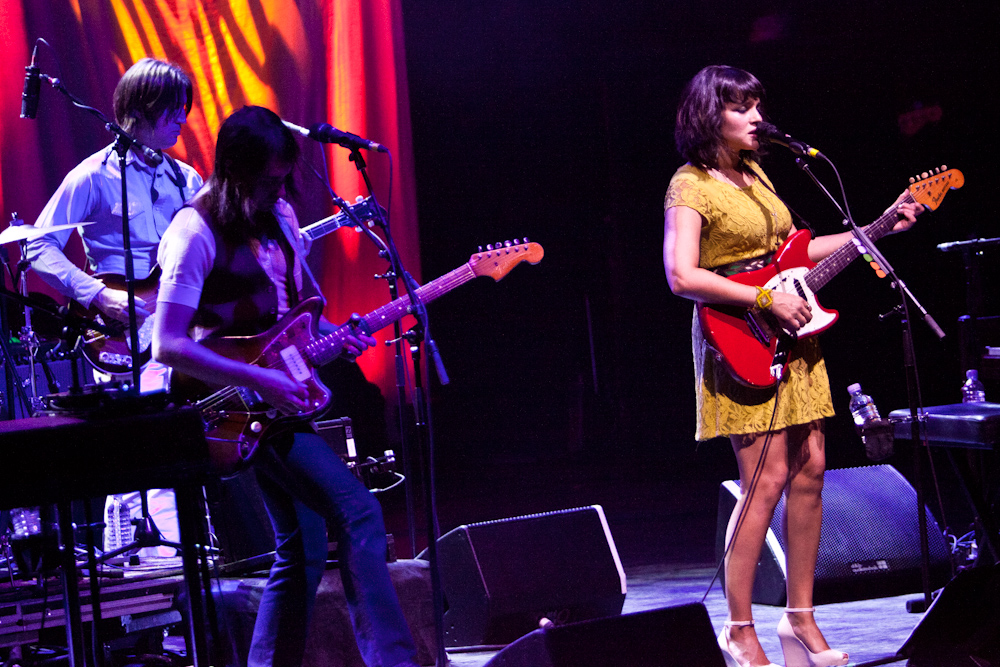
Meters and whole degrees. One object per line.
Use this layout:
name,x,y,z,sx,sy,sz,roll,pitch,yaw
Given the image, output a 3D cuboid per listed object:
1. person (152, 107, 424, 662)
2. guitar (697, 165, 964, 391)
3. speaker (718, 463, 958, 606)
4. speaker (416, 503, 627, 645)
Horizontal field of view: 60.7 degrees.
person,-0.879,0.215,3.321,0.844,2.221,0.411,-4,-7,-26
guitar,1.412,-0.298,3.573,1.377,0.518,0.183,-35,-3,-16
speaker,1.731,0.862,4.602,0.938,0.700,0.783,-1,-7,-20
speaker,0.142,1.146,4.058,0.783,0.525,0.650,-3,3,-29
